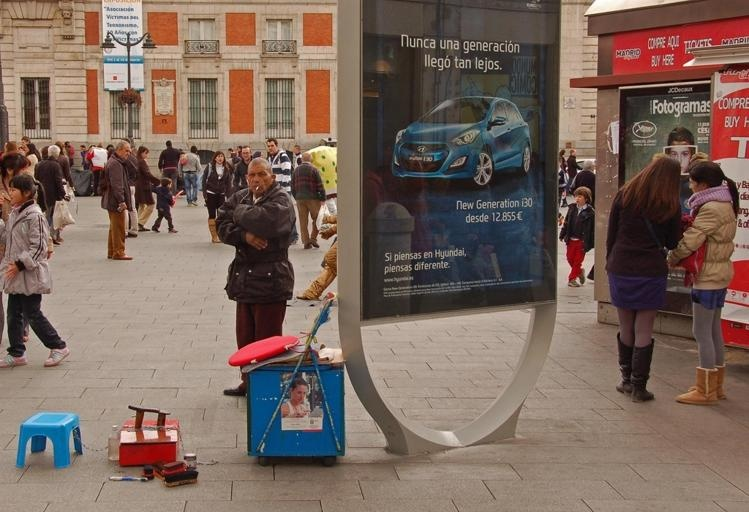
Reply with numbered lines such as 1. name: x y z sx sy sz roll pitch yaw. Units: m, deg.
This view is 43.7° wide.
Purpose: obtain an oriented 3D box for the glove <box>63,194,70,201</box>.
1. glove: -6.402 -1.221 19.450 0.152 0.102 0.217 4 2 -1

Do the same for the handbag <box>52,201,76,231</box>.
1. handbag: -6.651 -0.882 19.978 0.312 0.704 0.687 3 7 16

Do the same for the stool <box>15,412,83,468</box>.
1. stool: -3.053 1.690 8.779 0.491 0.419 0.497 3 0 3

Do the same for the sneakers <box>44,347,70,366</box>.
1. sneakers: -3.768 1.189 11.048 0.129 0.177 0.385 0 14 25

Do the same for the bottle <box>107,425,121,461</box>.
1. bottle: -2.445 1.744 8.779 0.114 0.343 0.146 -2 12 -13

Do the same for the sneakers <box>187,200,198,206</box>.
1. sneakers: -6.150 -1.798 31.560 0.233 0.285 0.650 1 -1 -1

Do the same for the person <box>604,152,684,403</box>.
1. person: 2.929 0.243 10.252 0.777 2.632 0.553 5 12 18

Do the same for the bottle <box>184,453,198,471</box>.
1. bottle: -1.691 1.894 8.624 0.102 0.137 0.125 1 3 -4

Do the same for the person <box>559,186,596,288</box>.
1. person: 3.571 -0.360 16.374 0.552 1.746 0.578 3 12 9

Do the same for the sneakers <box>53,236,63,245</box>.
1. sneakers: -6.879 -0.336 20.293 0.157 0.217 0.498 -1 -6 -28
